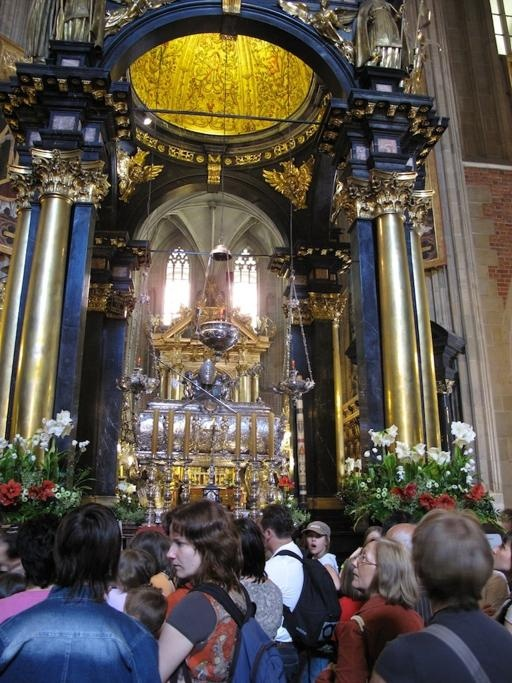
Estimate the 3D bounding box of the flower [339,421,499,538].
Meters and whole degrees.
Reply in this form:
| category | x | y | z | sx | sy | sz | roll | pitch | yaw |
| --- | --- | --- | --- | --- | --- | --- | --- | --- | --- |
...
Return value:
| category | x | y | z | sx | sy | sz | roll | pitch | yaw |
| --- | --- | --- | --- | --- | --- | --- | --- | --- | --- |
| flower | 1.379 | 1.153 | 5.171 | 1.303 | 0.860 | 1.214 | 3 | -15 | -9 |

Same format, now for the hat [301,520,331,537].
| category | x | y | z | sx | sy | sz | roll | pitch | yaw |
| --- | --- | --- | --- | --- | --- | --- | --- | --- | --- |
| hat | 0.414 | 1.203 | 3.994 | 0.116 | 0.071 | 0.164 | -17 | -36 | 39 |

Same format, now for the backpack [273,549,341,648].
| category | x | y | z | sx | sy | sz | roll | pitch | yaw |
| --- | --- | --- | --- | --- | --- | --- | --- | --- | --- |
| backpack | 0.211 | 1.309 | 3.158 | 0.359 | 0.411 | 0.297 | 10 | -12 | -19 |

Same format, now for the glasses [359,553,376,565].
| category | x | y | z | sx | sy | sz | roll | pitch | yaw |
| --- | --- | --- | --- | --- | --- | --- | --- | --- | --- |
| glasses | 0.424 | 0.811 | 2.300 | 0.033 | 0.035 | 0.040 | -3 | -31 | -14 |
